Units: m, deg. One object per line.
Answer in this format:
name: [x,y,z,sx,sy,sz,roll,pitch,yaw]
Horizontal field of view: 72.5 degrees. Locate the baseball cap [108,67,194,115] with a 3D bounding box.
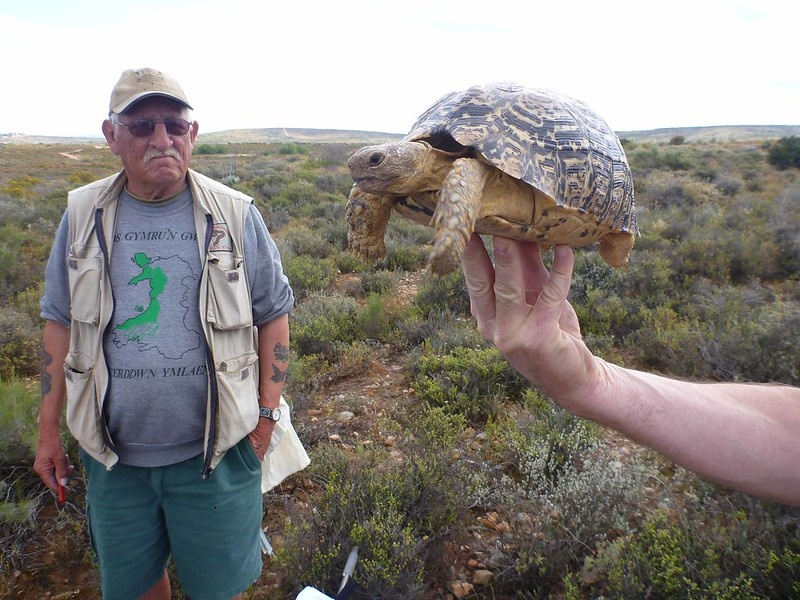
baseball cap: [-1.612,-1.314,3.467,0.459,0.331,0.578,-17,16,-41]

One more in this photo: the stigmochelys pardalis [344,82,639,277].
stigmochelys pardalis: [0.559,-0.693,3.077,1.517,0.929,1.045,-2,4,-38]

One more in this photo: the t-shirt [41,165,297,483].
t-shirt: [-1.462,0.129,3.852,1.169,1.865,0.544,-1,1,-10]

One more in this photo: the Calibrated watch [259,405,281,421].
Calibrated watch: [-0.849,0.743,3.508,0.108,0.083,0.120,6,-24,-11]
